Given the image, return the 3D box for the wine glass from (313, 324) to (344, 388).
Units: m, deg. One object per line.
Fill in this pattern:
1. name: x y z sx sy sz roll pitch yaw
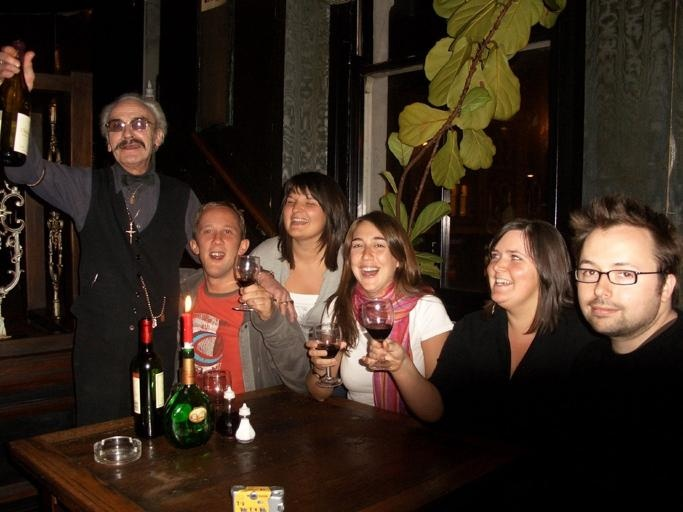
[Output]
1. wine glass: -0.061 0.411 2.283 0.116 0.287 0.176 -2 10 -10

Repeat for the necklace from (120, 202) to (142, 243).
1. necklace: -1.125 -0.172 2.860 0.076 0.224 0.062 -3 -6 -13

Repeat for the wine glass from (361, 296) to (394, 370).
1. wine glass: 0.153 0.273 2.327 0.136 0.166 0.090 3 11 16

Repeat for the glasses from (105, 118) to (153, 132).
1. glasses: -1.132 -0.700 2.861 0.219 0.082 0.083 -4 11 -19

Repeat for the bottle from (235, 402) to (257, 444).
1. bottle: -0.349 0.608 1.956 0.078 0.129 0.075 -1 5 0

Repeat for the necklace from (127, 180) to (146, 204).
1. necklace: -1.114 -0.348 2.903 0.067 0.172 0.018 20 13 -15

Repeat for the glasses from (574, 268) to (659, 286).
1. glasses: 1.050 0.079 2.034 0.291 0.071 0.064 4 11 24

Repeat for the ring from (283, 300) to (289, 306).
1. ring: -0.271 0.232 2.642 0.024 0.019 0.021 -16 -36 29

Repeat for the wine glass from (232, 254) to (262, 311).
1. wine glass: -0.432 0.069 2.460 0.109 0.161 0.193 -5 11 -25
